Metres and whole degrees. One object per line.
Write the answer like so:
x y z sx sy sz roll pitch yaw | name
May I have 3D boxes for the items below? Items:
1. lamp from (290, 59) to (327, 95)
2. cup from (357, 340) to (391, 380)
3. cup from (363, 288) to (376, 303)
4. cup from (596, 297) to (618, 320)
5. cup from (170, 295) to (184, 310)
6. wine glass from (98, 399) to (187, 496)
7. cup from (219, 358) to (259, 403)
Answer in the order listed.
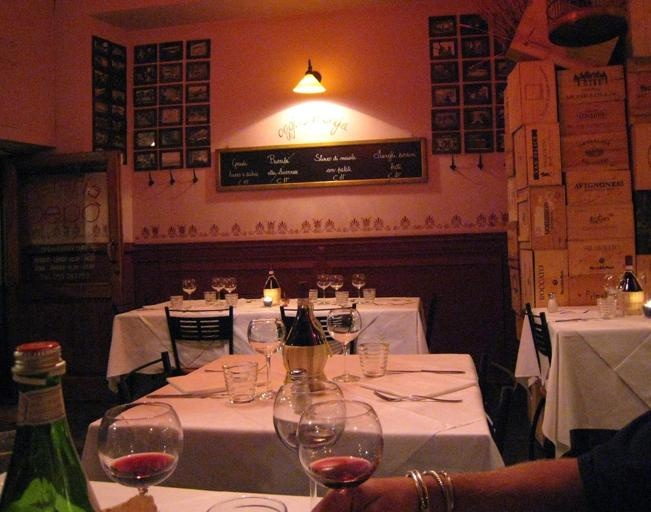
-0.147 -1.521 4.696 0.263 0.280 0.264 -3 3 -29 | lamp
0.158 0.365 1.925 0.107 0.101 0.100 -1 -5 0 | cup
0.322 0.296 4.161 0.084 0.101 0.087 1 -5 0 | cup
1.574 0.303 3.174 0.103 0.121 0.106 -1 -2 0 | cup
-1.076 0.340 4.020 0.110 0.087 0.115 0 -9 0 | cup
-0.400 0.403 1.173 0.191 0.181 0.127 1 3 41 | wine glass
-0.290 0.400 1.777 0.092 0.098 0.108 0 -17 -10 | cup
